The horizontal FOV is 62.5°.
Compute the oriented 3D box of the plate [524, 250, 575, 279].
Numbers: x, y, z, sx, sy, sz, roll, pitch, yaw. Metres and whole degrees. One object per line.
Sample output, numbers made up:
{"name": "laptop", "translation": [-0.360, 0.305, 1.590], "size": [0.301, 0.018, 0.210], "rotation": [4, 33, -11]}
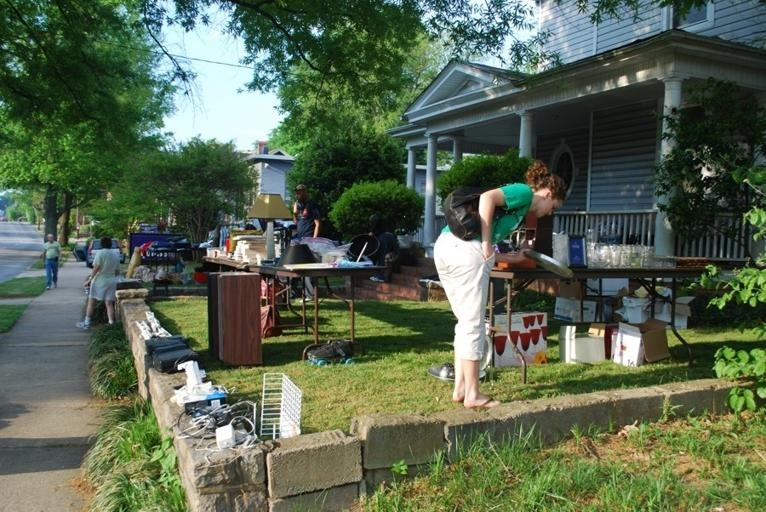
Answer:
{"name": "plate", "translation": [1.797, -0.006, 6.792], "size": [0.359, 0.095, 0.392], "rotation": [23, 9, -31]}

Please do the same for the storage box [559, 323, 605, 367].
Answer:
{"name": "storage box", "translation": [2.645, 1.141, 8.528], "size": [0.623, 0.635, 0.456], "rotation": [0, 3, -14]}

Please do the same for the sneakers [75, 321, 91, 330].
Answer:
{"name": "sneakers", "translation": [-5.694, 1.294, 11.971], "size": [0.364, 0.165, 0.149], "rotation": [8, 6, 36]}

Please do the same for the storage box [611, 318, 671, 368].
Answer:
{"name": "storage box", "translation": [3.437, 1.165, 8.514], "size": [0.698, 0.511, 0.748], "rotation": [-6, -1, -6]}

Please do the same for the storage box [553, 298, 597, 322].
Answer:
{"name": "storage box", "translation": [3.242, 0.926, 10.806], "size": [0.570, 0.386, 0.133], "rotation": [5, 0, 42]}

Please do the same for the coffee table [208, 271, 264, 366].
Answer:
{"name": "coffee table", "translation": [-2.020, 1.082, 8.601], "size": [0.509, 1.211, 1.348], "rotation": [2, -25, -19]}

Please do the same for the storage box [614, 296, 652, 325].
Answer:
{"name": "storage box", "translation": [4.074, 0.839, 10.312], "size": [0.478, 0.485, 0.491], "rotation": [5, 10, 38]}

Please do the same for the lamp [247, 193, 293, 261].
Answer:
{"name": "lamp", "translation": [-1.757, -0.424, 9.800], "size": [0.766, 1.124, 0.794], "rotation": [8, 12, 41]}

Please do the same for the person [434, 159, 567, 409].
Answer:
{"name": "person", "translation": [1.125, 0.270, 6.557], "size": [1.101, 2.490, 0.655], "rotation": [2, 0, -29]}

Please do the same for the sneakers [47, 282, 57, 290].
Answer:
{"name": "sneakers", "translation": [-9.989, 0.888, 18.980], "size": [0.210, 0.292, 0.655], "rotation": [-1, -4, -10]}
